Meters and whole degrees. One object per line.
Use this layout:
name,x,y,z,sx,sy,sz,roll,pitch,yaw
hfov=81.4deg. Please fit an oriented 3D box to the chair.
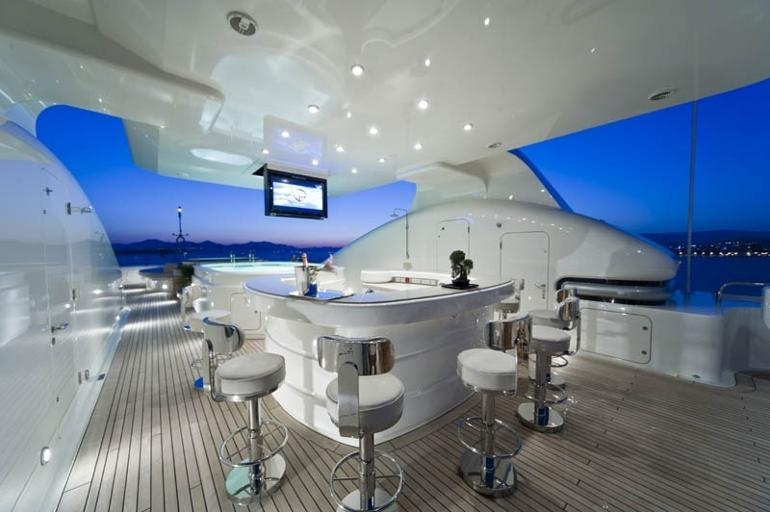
chair,-0.112,1.557,5.258,3.631,1.818,1.751,-3,1,-17

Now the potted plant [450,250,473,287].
potted plant,1.054,0.152,6.189,0.277,0.494,0.449,-2,1,10

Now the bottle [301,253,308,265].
bottle,-0.959,0.032,5.289,0.061,0.126,0.129,-2,1,-11
